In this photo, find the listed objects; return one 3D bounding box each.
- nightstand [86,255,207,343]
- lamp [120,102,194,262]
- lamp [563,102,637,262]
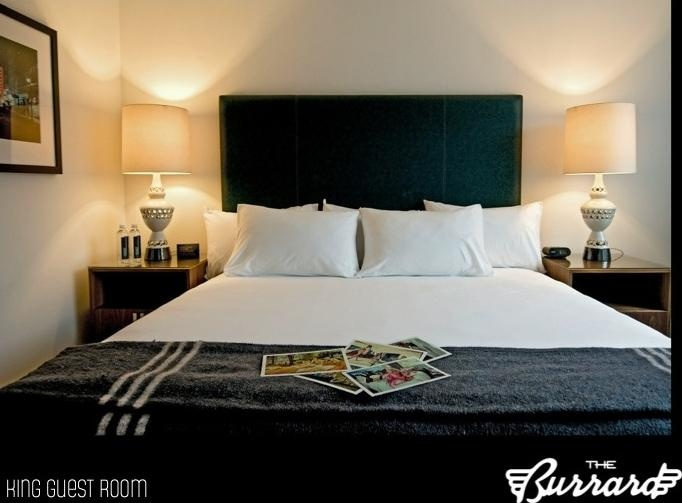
[{"bbox_3d":[-1.240,0.260,3.329,0.639,0.682,0.523,-1,3,-4],"label":"nightstand"},{"bbox_3d":[-1.171,-0.446,3.320,0.426,0.981,0.366,-4,12,-20],"label":"lamp"},{"bbox_3d":[1.607,-0.432,3.213,0.413,0.967,0.307,5,12,23],"label":"lamp"}]
